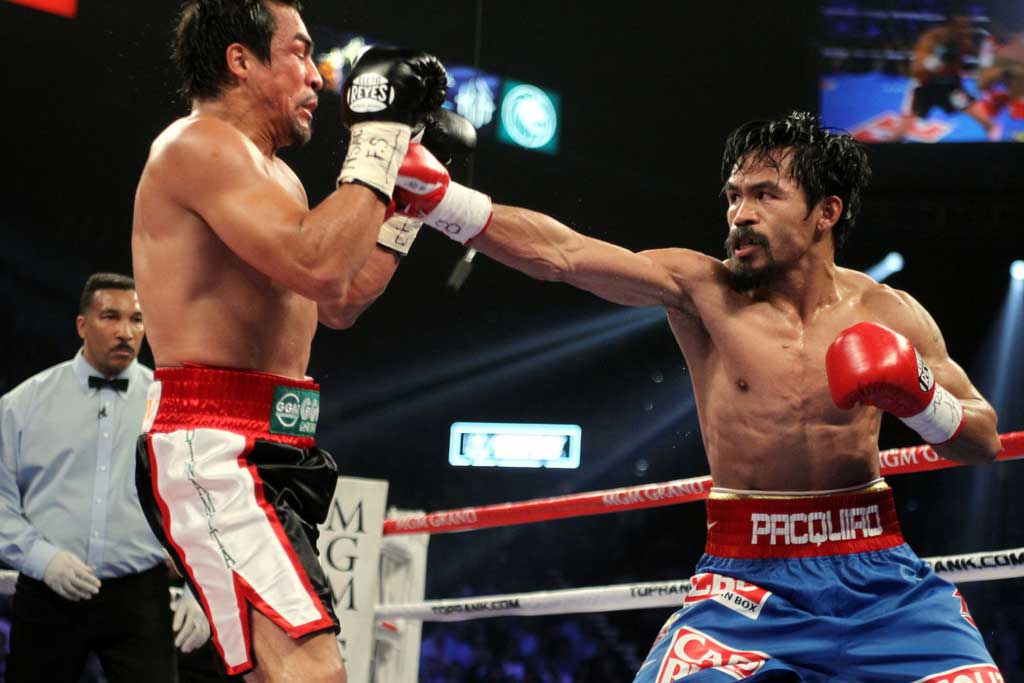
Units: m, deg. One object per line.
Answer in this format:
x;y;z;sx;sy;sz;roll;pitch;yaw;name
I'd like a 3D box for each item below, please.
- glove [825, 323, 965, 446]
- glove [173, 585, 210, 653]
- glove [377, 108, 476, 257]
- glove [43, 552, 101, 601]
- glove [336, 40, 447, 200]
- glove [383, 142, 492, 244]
1.756;0.208;4.778;0.653;0.616;0.214;-11;16;-12;glove
-1.851;1.512;5.986;0.160;0.145;0.256;-7;25;-14;glove
-0.319;-0.807;4.882;0.246;0.618;0.624;26;36;-4;glove
-2.420;1.293;5.706;0.249;0.151;0.157;1;50;34;glove
-0.560;-0.949;4.581;0.485;0.639;0.321;23;13;19;glove
-0.316;-0.622;4.731;0.475;0.347;0.210;27;-36;-25;glove
